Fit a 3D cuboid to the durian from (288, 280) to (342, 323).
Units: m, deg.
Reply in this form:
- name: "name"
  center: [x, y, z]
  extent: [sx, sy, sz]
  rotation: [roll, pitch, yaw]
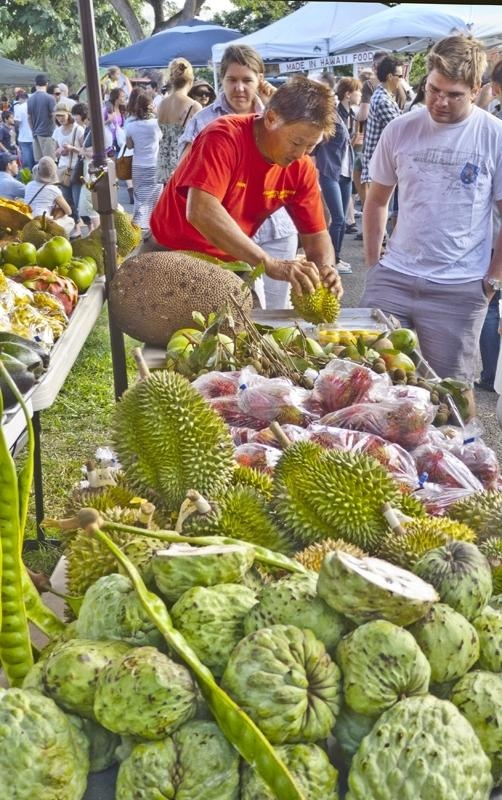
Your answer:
- name: "durian"
  center: [0.281, -0.423, 2.740]
  extent: [0.205, 0.183, 0.180]
  rotation: [4, 25, 9]

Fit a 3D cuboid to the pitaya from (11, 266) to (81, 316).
- name: "pitaya"
  center: [-0.849, -0.487, 2.623]
  extent: [0.239, 0.153, 0.225]
  rotation: [25, 5, -16]
